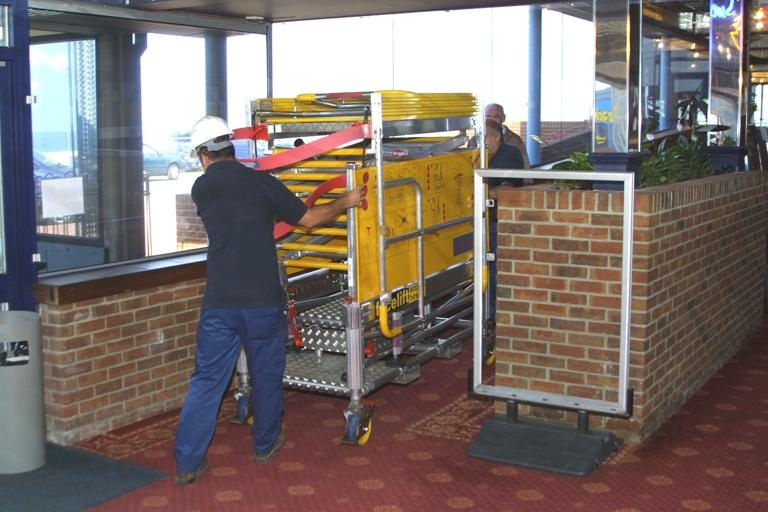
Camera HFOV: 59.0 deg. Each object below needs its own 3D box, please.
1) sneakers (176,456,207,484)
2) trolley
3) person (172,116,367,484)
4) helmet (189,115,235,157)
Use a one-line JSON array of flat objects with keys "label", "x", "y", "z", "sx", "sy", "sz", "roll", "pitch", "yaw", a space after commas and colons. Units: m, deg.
[{"label": "sneakers", "x": -1.423, "y": 1.589, "z": 5.048, "sx": 0.086, "sy": 0.095, "sz": 0.240, "roll": 11, "pitch": 18, "yaw": 23}, {"label": "trolley", "x": -0.244, "y": 0.100, "z": 6.728, "sx": 1.921, "sy": 2.328, "sz": 3.011, "roll": 5, "pitch": 12, "yaw": 34}, {"label": "person", "x": -1.041, "y": 0.276, "z": 5.122, "sx": 1.359, "sy": 2.588, "sz": 0.548, "roll": -8, "pitch": 12, "yaw": -18}, {"label": "helmet", "x": -1.337, "y": -0.913, "z": 5.149, "sx": 0.315, "sy": 0.249, "sz": 0.228, "roll": -12, "pitch": 13, "yaw": 21}]
